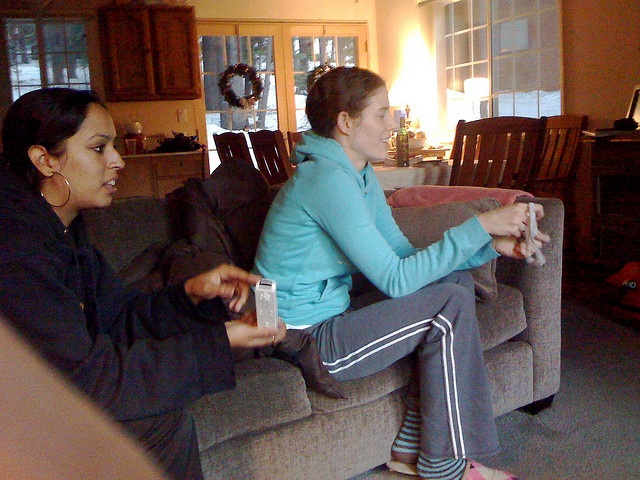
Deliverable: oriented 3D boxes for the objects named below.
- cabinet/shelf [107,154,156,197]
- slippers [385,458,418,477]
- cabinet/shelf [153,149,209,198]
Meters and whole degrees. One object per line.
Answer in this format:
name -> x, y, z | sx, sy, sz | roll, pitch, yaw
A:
cabinet/shelf -> -1.701, -0.495, 4.773 | 0.322, 0.429, 0.277 | -7, -14, -3
slippers -> 0.227, 0.613, 1.403 | 0.075, 0.049, 0.009 | 16, 33, 23
cabinet/shelf -> -1.269, -0.572, 4.901 | 0.571, 0.415, 0.320 | -6, 1, 2
